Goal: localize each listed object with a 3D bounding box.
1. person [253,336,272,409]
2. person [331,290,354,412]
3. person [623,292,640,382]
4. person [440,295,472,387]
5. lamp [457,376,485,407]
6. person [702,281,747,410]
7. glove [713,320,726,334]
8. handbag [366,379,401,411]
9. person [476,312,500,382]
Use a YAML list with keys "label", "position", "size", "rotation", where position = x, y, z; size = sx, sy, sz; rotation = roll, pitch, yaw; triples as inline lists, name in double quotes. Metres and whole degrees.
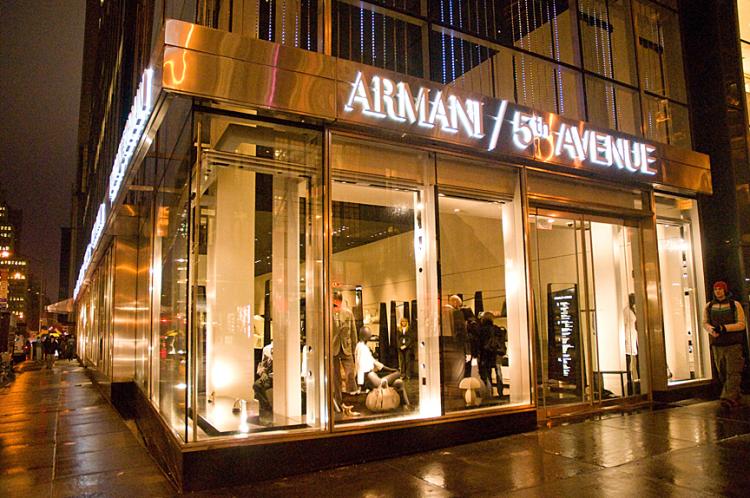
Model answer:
- label: "person"
  position: [-1.657, 1.900, 9.367]
  size: [0.293, 0.953, 0.501]
  rotation: [-2, 0, -10]
- label: "person"
  position: [-0.471, 1.550, 9.484]
  size: [0.483, 1.764, 0.269]
  rotation: [-2, 0, -24]
- label: "person"
  position: [5.085, 1.720, 12.512]
  size: [0.267, 1.807, 0.424]
  rotation: [-2, 0, 19]
- label: "person"
  position: [1.304, 1.488, 10.287]
  size: [0.634, 1.507, 0.144]
  rotation: [-1, 0, -40]
- label: "lamp"
  position: [1.676, 2.355, 10.471]
  size: [0.437, 0.631, 0.443]
  rotation: [-7, -10, 24]
- label: "person"
  position: [6.497, 1.772, 11.754]
  size: [0.638, 2.499, 0.589]
  rotation: [-2, 0, 45]
- label: "glove"
  position: [6.382, 1.487, 11.661]
  size: [0.190, 0.208, 0.074]
  rotation: [-2, 0, 24]
- label: "handbag"
  position: [0.113, 2.242, 9.969]
  size: [0.671, 0.567, 0.365]
  rotation: [5, -20, -24]
- label: "person"
  position: [1.916, 1.670, 10.643]
  size: [0.498, 1.226, 0.154]
  rotation: [-1, 0, -42]
